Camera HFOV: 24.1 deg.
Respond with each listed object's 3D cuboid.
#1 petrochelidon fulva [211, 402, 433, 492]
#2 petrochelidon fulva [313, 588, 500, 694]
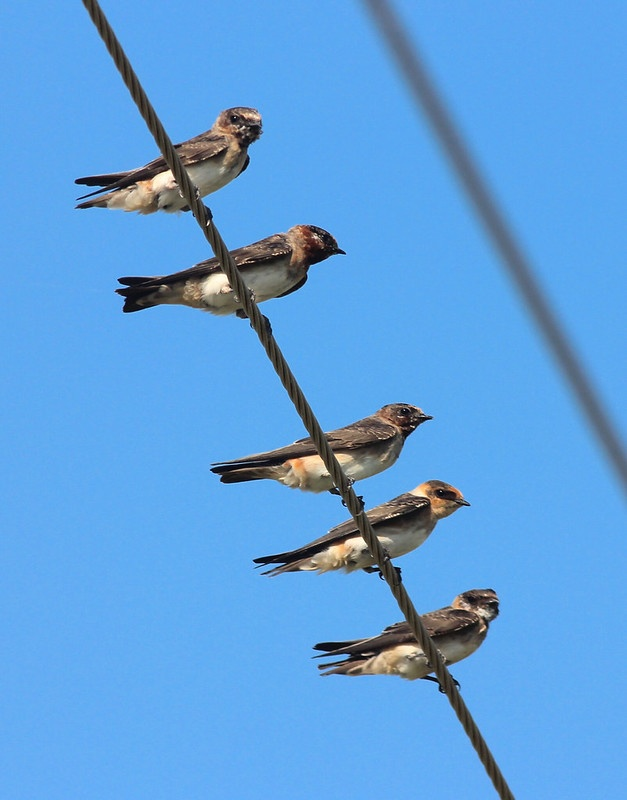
[{"bbox_3d":[0.077,0.425,12.150,1.853,0.752,0.571,-4,-21,-3],"label":"petrochelidon fulva"},{"bbox_3d":[0.754,1.963,11.876,1.554,0.430,0.803,-7,55,-3],"label":"petrochelidon fulva"}]
